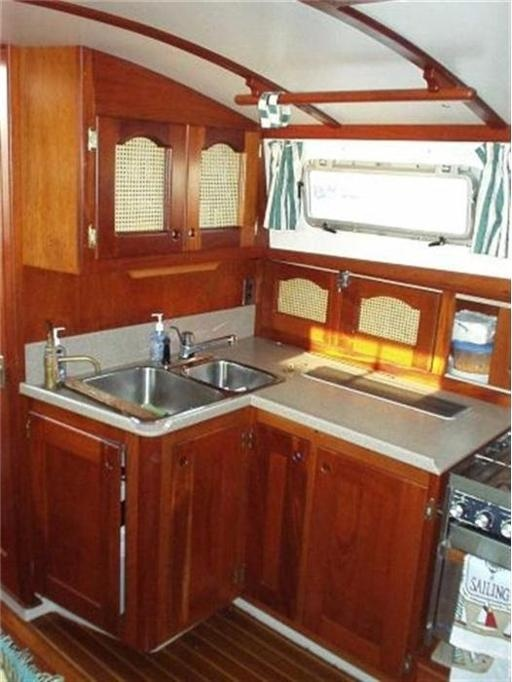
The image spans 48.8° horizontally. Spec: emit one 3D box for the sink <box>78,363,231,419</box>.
[{"bbox_3d":[-0.358,0.189,2.141,0.326,0.134,0.252,23,27,38],"label":"sink"}]

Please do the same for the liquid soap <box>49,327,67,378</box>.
[{"bbox_3d":[-0.681,0.053,1.946,0.053,0.192,0.052,-5,8,-5],"label":"liquid soap"}]
